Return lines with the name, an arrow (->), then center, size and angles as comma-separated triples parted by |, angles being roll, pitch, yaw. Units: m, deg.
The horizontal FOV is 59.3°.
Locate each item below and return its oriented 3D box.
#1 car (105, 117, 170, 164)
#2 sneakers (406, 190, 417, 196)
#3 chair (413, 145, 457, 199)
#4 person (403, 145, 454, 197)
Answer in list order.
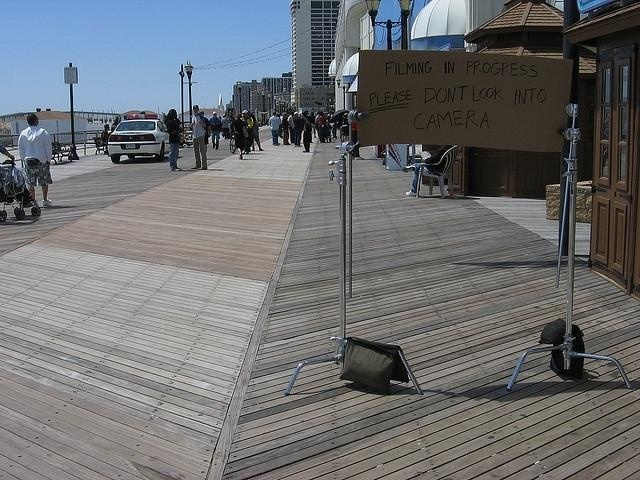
car -> -9.231, -5.050, 28.426 | 2.736, 2.120, 2.216 | -4, 12, -13
sneakers -> 2.673, -1.375, 16.340 | 0.242, 0.112, 0.130 | 2, 11, 4
chair -> 3.357, -2.054, 16.464 | 1.021, 1.452, 1.073 | 4, 17, 6
person -> 3.368, -2.063, 16.472 | 1.065, 1.527, 1.139 | 5, 19, 7
